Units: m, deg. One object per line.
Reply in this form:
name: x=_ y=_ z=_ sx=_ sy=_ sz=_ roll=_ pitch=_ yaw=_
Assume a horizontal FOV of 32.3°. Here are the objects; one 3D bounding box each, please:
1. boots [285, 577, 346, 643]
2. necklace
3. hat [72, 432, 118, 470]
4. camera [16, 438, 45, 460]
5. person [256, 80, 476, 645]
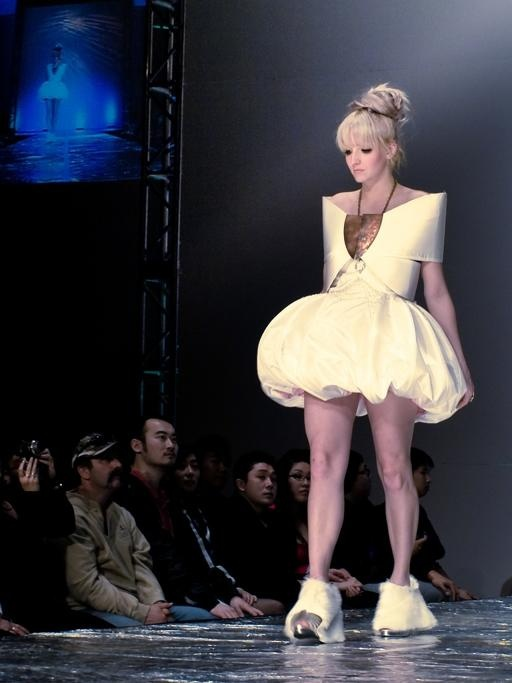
boots: x=0.115 y=0.593 z=1.869 sx=0.088 sy=0.055 sz=0.139 roll=-4 pitch=-8 yaw=21
necklace: x=0.292 y=-0.288 z=2.177 sx=0.087 sy=0.237 sz=0.006 roll=14 pitch=-28 yaw=22
hat: x=-0.555 y=0.376 z=3.056 sx=0.154 sy=0.048 sz=0.107 roll=-25 pitch=-5 yaw=31
camera: x=-0.776 y=0.373 z=3.043 sx=0.092 sy=0.097 sz=0.043 roll=5 pitch=8 yaw=6
person: x=0.274 y=0.010 z=2.065 sx=0.504 sy=1.285 sz=0.565 roll=4 pitch=5 yaw=-6
